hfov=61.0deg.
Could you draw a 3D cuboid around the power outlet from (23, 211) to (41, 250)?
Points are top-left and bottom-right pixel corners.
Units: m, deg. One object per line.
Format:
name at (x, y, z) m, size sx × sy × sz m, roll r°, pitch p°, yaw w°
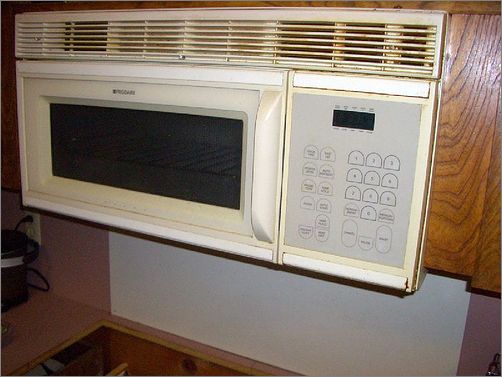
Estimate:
power outlet at (-0.997, 0.192, 1.940) m, size 0.145 × 0.134 × 0.034 m, roll 7°, pitch 12°, yaw 27°
